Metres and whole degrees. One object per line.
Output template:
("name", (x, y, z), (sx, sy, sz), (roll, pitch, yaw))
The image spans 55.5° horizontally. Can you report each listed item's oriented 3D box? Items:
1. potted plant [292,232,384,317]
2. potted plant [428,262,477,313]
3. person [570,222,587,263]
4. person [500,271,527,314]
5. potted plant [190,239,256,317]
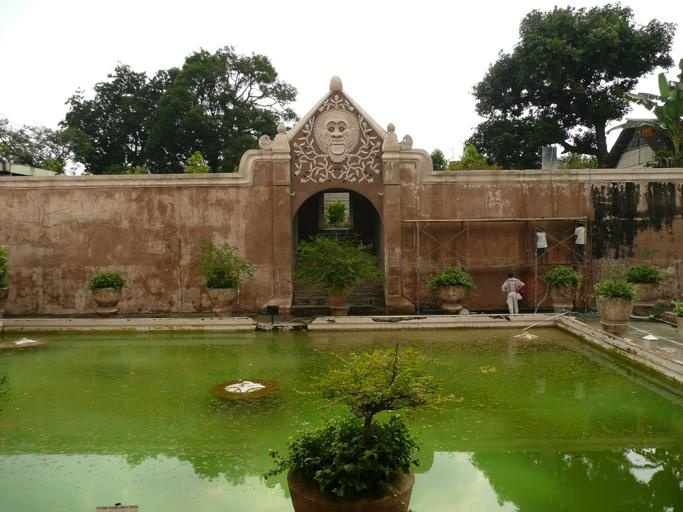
("potted plant", (-0.152, 0.456, 16.902), (2.175, 2.149, 2.089), (0, -2, -4))
("potted plant", (3.018, 0.853, 16.925), (1.197, 1.190, 1.179), (-1, 2, -40))
("person", (6.426, -0.372, 17.397), (0.361, 1.060, 0.449), (-1, 2, 14))
("person", (4.372, 0.962, 16.496), (0.597, 1.098, 2.528), (-1, 2, 15))
("potted plant", (-3.148, 0.552, 17.399), (2.250, 2.477, 1.699), (1, -5, -9))
